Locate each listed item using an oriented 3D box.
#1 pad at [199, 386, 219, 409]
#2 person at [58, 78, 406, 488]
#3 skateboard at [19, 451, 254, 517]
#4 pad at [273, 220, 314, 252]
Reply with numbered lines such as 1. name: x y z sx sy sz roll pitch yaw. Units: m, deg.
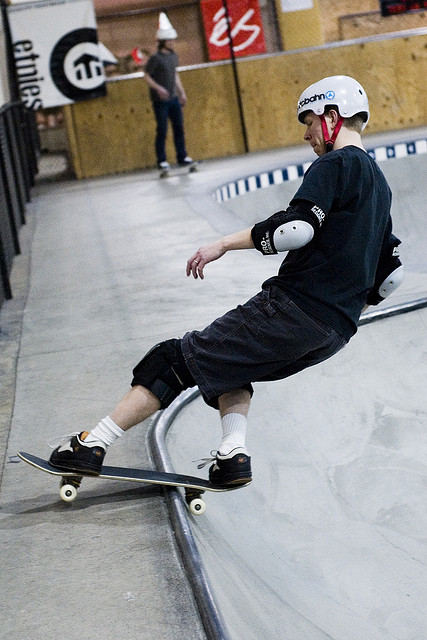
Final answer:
1. pad: -0.014 0.236 1.899 0.029 0.024 0.099 9 -19 21
2. person: 0.063 -0.080 2.069 1.009 1.320 0.678 -1 -19 24
3. skateboard: -0.244 0.488 1.857 0.629 0.094 0.152 9 6 -7
4. pad: 0.210 -0.225 1.674 0.090 0.085 0.067 8 17 27
